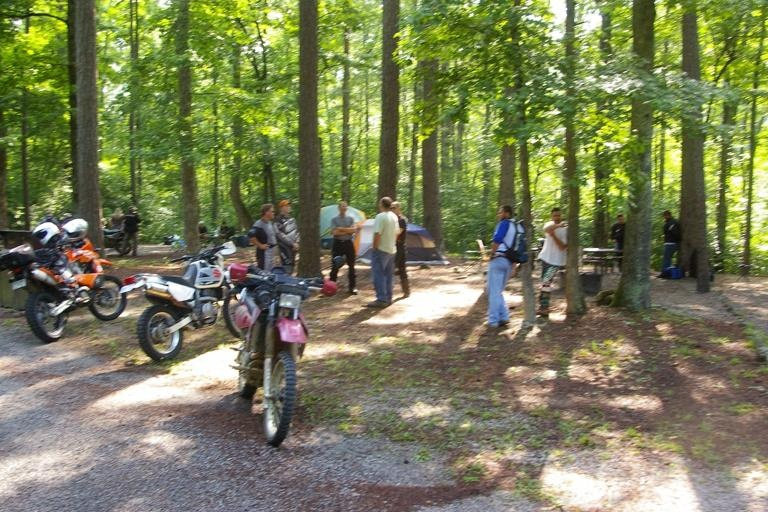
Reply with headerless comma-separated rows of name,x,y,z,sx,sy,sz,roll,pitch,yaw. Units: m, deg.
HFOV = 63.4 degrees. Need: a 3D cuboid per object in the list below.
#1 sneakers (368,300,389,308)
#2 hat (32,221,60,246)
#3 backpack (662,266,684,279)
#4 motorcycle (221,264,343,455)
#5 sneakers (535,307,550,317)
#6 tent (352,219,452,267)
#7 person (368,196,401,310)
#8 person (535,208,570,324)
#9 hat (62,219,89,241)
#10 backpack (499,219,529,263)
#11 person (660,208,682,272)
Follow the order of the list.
sneakers,-0.145,1.101,14.293,0.508,0.149,0.147,-2,2,1
hat,-6.587,-0.424,12.128,0.624,0.443,0.432,-6,7,-19
backpack,8.399,0.465,18.078,0.718,0.279,0.614,7,-4,-6
motorcycle,-1.513,1.288,8.626,0.990,2.287,1.774,-3,8,-23
sneakers,3.262,1.143,12.828,0.243,0.196,0.199,1,7,7
tent,0.010,-0.643,21.169,3.411,1.033,3.513,15,9,30
person,-0.036,-0.064,14.161,0.538,2.505,0.681,3,8,22
person,3.548,0.098,13.136,0.558,2.222,1.162,2,8,14
hat,-6.376,-0.569,12.830,0.565,0.345,0.482,-25,-4,-29
backpack,2.607,-0.275,12.129,0.368,0.840,0.552,4,8,29
person,8.491,-0.374,18.394,0.529,1.878,0.857,3,8,22
